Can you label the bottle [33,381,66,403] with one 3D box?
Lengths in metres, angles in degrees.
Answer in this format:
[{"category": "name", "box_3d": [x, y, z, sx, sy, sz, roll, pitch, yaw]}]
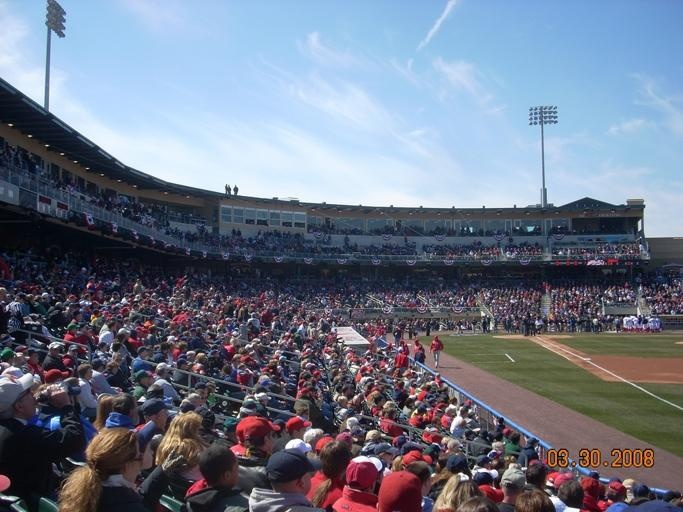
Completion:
[{"category": "bottle", "box_3d": [-4.483, 2.068, 10.185, 0.298, 0.335, 0.719, -2, -6, -39]}]
